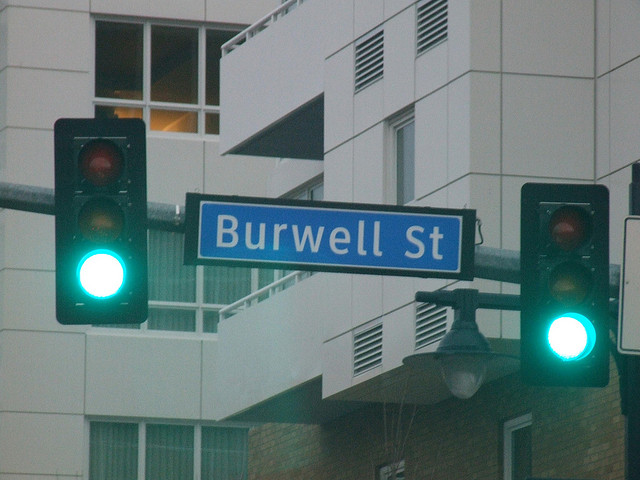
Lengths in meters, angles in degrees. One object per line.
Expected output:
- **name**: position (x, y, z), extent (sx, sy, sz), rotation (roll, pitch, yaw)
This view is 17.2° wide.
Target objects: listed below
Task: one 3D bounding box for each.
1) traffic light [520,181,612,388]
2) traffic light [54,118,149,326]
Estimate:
- **traffic light**: position (2.884, 0.532, 24.982), extent (1.204, 2.454, 0.601), rotation (7, -11, 8)
- **traffic light**: position (-2.573, -0.221, 25.057), extent (1.049, 2.607, 0.609), rotation (-1, 17, -6)
